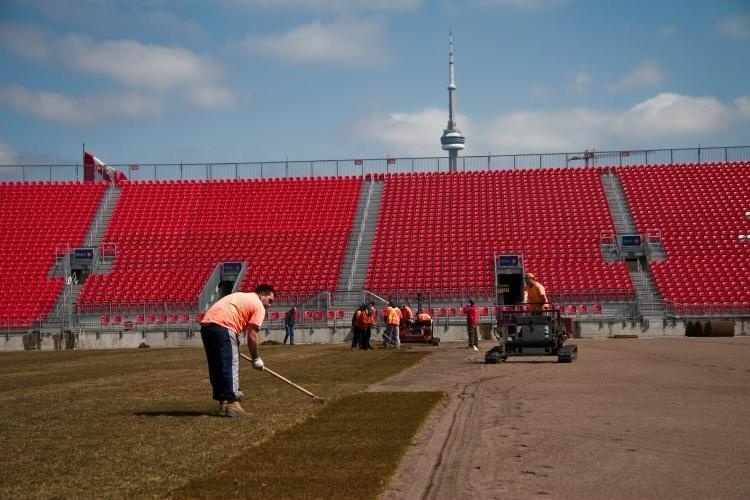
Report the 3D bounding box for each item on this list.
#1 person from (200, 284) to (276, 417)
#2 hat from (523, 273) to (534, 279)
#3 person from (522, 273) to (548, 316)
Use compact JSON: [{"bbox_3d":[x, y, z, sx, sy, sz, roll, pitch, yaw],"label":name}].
[{"bbox_3d":[-3.468,2.434,25.120,1.611,3.225,0.936,-1,-9,-9],"label":"person"},{"bbox_3d":[5.222,0.869,34.455,0.615,0.179,0.567,1,0,7],"label":"hat"},{"bbox_3d":[5.138,1.350,32.485,0.691,1.361,1.530,-3,-9,8],"label":"person"}]
